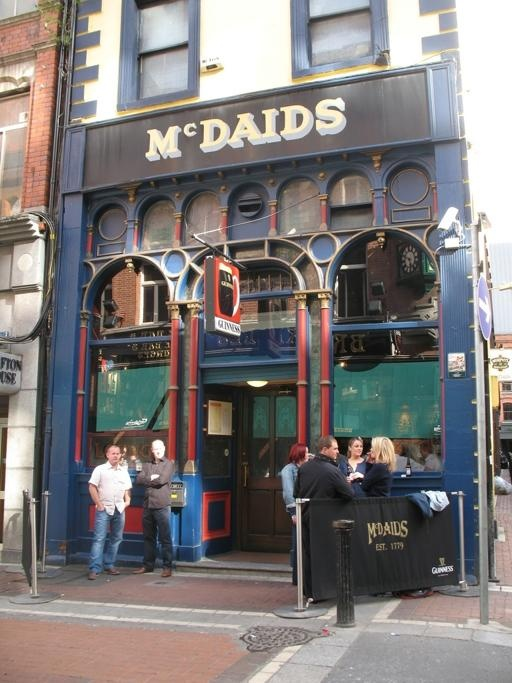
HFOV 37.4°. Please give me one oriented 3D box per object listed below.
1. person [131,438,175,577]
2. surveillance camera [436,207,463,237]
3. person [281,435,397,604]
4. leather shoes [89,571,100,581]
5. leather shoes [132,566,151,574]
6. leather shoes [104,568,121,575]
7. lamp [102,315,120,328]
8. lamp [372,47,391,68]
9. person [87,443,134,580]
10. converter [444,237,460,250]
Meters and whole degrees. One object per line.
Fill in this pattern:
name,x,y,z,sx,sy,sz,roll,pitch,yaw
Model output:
person,-1.385,2.262,10.325,0.509,1.787,0.592,-3,-10,6
surveillance camera,2.509,-1.563,9.831,0.292,0.375,0.216,-5,-10,16
person,0.771,1.925,8.546,0.922,1.653,1.245,-2,-10,2
leather shoes,-2.104,3.048,9.827,0.084,0.076,0.239,0,-10,-4
leather shoes,-1.538,3.101,10.238,0.278,0.089,0.300,-1,-10,-8
leather shoes,-1.925,3.102,10.173,0.181,0.077,0.277,1,-10,-15
lamp,-2.312,-0.324,12.138,0.202,0.179,0.107,0,-25,27
lamp,1.761,-3.996,10.608,0.222,0.344,0.269,-4,-10,10
person,-2.033,2.294,10.250,0.383,1.704,0.717,-10,-12,37
converter,2.517,-1.268,9.737,0.170,0.147,0.039,2,-9,17
